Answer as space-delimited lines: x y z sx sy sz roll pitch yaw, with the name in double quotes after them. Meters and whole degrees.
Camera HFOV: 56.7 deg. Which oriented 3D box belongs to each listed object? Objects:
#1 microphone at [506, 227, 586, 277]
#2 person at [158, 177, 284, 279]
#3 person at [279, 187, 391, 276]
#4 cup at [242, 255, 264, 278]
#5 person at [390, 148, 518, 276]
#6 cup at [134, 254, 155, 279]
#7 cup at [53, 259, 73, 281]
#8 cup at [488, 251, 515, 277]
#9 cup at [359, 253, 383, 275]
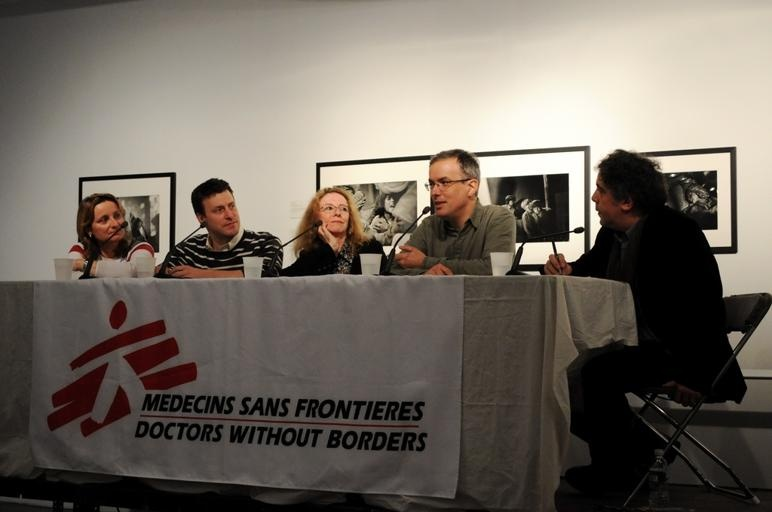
1.074 -0.032 4.739 0.283 0.098 0.302 9 -41 6 "microphone"
-1.214 -0.355 5.244 1.007 0.875 0.729 -4 -6 -18 "person"
-0.347 -0.169 5.217 0.551 0.825 0.293 -1 -16 -1 "person"
-0.711 0.063 3.807 0.099 0.121 0.104 2 -4 0 "cup"
0.499 -0.291 4.892 0.487 0.815 0.747 12 -13 -43 "person"
-1.360 0.063 4.010 0.131 0.146 0.146 1 2 18 "cup"
-1.784 0.083 3.976 0.114 0.137 0.118 1 -4 0 "cup"
0.594 0.044 3.760 0.111 0.122 0.109 2 3 0 "cup"
-0.083 0.045 3.754 0.106 0.087 0.098 1 -4 0 "cup"
